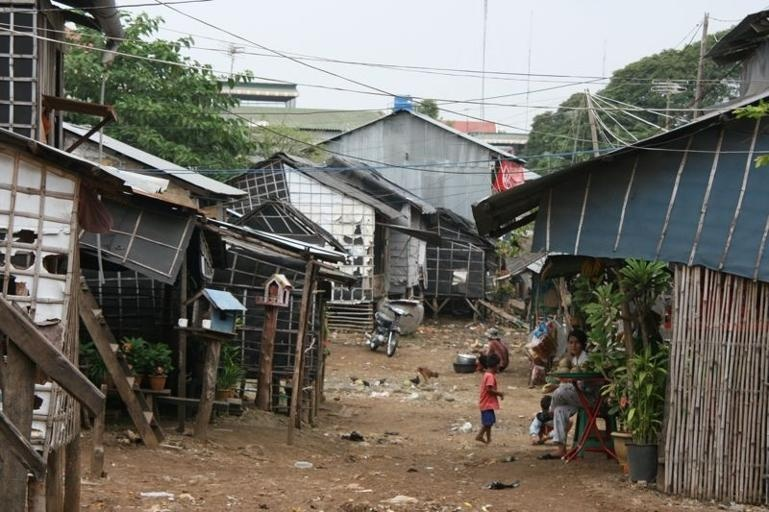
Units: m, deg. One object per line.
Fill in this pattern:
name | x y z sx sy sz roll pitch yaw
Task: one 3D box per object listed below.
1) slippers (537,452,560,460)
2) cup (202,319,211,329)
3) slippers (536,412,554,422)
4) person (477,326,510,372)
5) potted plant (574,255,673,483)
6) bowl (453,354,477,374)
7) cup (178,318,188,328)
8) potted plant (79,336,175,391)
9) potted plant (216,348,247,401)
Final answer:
slippers | 2.756 3.378 15.872 0.324 0.082 0.126 2 1 7
cup | -3.026 1.182 16.314 0.178 0.120 0.112 0 -2 22
slippers | 2.954 2.973 17.426 0.380 0.209 0.480 1 -8 11
person | 3.207 2.739 27.598 0.846 1.134 0.933 1 6 27
potted plant | 3.681 1.708 14.709 1.199 3.453 1.607 7 1 2
bowl | 2.375 3.188 27.870 0.603 0.352 0.547 -1 -2 25
cup | -3.503 1.183 16.539 0.174 0.133 0.135 0 -2 12
potted plant | -4.467 1.861 16.477 1.117 0.810 1.200 0 1 1
potted plant | -3.008 2.322 18.904 0.493 0.974 1.379 7 1 -6
